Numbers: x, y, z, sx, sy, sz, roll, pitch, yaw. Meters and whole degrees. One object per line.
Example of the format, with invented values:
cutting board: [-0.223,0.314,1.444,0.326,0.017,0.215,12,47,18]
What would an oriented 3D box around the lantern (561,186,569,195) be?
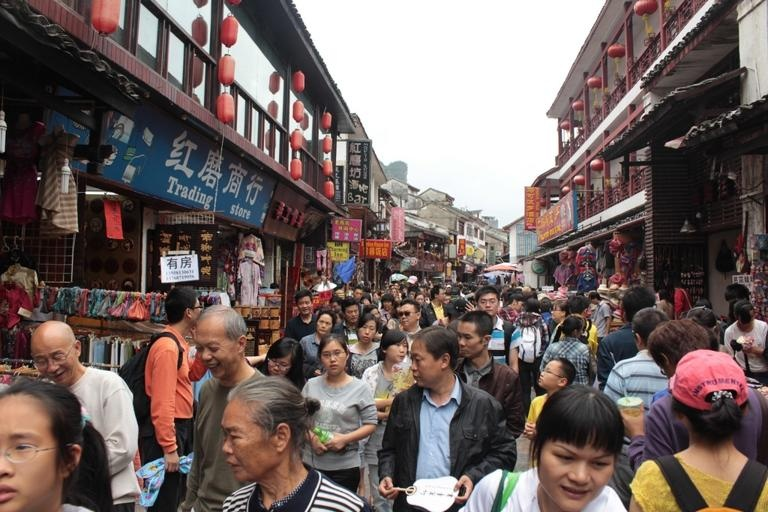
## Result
lantern: [8.793,-3.144,28.815,0.374,0.377,0.354,-3,8,-31]

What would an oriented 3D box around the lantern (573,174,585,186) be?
lantern: [8.288,-3.213,25.497,0.464,0.509,0.488,-14,0,28]

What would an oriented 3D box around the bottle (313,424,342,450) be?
bottle: [-0.554,1.735,5.774,0.239,0.104,0.152,29,26,6]

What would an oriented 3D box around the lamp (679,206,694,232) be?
lamp: [6.783,-0.782,13.433,0.351,0.470,0.448,1,-4,-14]

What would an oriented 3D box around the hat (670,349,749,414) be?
hat: [2.111,0.813,3.885,0.431,0.383,0.238,2,-7,29]

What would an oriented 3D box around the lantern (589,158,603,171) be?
lantern: [7.524,-3.301,21.104,0.407,0.420,0.996,3,-6,20]

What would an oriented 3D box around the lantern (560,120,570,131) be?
lantern: [8.794,-6.316,28.994,0.369,0.274,0.391,0,0,25]

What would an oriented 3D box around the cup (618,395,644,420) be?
cup: [1.928,1.173,4.677,0.172,0.134,0.182,-2,-3,0]

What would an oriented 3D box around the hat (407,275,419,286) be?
hat: [1.693,1.479,35.326,0.820,0.518,1.347,3,0,16]

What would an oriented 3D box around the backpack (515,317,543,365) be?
backpack: [2.208,1.245,9.172,0.504,0.814,0.427,0,22,16]
